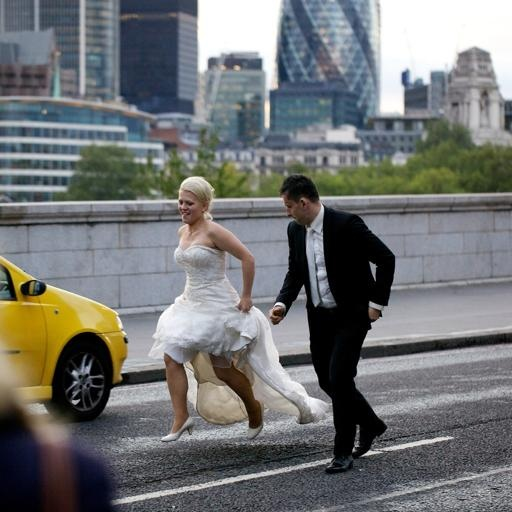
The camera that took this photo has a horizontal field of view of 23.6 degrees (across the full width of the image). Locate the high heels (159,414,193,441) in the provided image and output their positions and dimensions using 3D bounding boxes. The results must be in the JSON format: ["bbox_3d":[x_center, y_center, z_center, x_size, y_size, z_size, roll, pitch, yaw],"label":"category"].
[{"bbox_3d":[-0.560,1.229,8.645,0.257,0.171,0.183,-4,7,-22],"label":"high heels"}]

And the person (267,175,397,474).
[{"bbox_3d":[0.506,0.441,8.324,0.860,1.978,0.460,4,8,37],"label":"person"}]

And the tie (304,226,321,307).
[{"bbox_3d":[0.386,0.057,8.288,0.064,0.435,0.203,-2,7,-9],"label":"tie"}]

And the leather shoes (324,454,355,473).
[{"bbox_3d":[0.561,1.404,8.252,0.075,0.115,0.227,0,-1,37],"label":"leather shoes"}]
